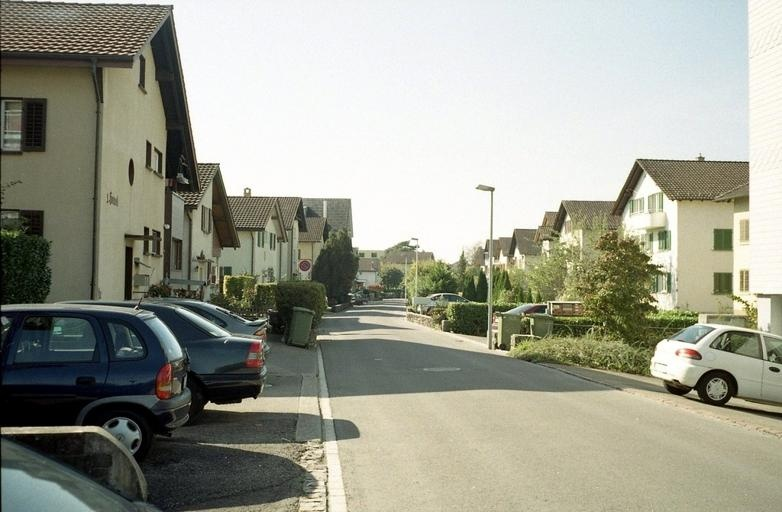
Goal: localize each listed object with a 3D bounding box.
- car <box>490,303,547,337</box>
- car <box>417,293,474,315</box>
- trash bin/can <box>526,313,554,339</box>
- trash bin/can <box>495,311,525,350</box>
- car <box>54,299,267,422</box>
[{"bbox_3d":[7.230,3.483,41.849,2.604,1.526,1.672,4,-8,-6],"label":"car"},{"bbox_3d":[3.560,3.784,54.229,3.274,1.325,1.634,-3,2,-19],"label":"car"},{"bbox_3d":[6.312,2.914,31.634,0.873,1.209,0.882,2,5,21],"label":"trash bin/can"},{"bbox_3d":[4.925,3.197,31.852,1.178,2.036,1.282,1,2,1],"label":"trash bin/can"},{"bbox_3d":[-4.461,2.093,15.411,4.164,1.832,1.985,2,-2,2],"label":"car"}]
